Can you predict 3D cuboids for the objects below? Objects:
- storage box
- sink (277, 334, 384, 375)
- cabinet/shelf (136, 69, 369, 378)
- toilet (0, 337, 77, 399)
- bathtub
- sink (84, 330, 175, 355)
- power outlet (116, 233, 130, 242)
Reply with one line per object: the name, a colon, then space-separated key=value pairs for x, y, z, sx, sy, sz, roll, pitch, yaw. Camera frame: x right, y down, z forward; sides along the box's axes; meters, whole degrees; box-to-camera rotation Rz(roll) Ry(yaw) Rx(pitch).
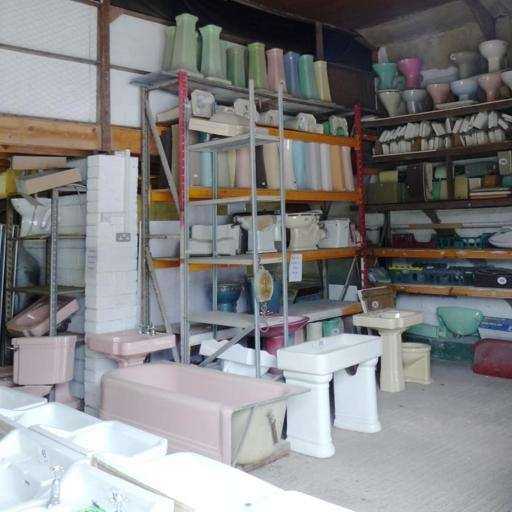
storage box: x=-1.603 y=-0.685 z=3.665 sx=0.501 sy=0.117 sz=0.473 roll=19 pitch=38 yaw=25
sink: x=0.552 y=0.717 z=3.418 sx=0.402 sy=0.223 sz=0.807 roll=0 pitch=1 yaw=43
cabinet/shelf: x=0.107 y=-0.394 z=5.000 sx=1.716 sy=2.376 sz=3.354 roll=-1 pitch=1 yaw=27
toilet: x=-1.630 y=0.820 z=3.616 sx=0.491 sy=0.459 sz=0.333 roll=-1 pitch=2 yaw=22
bathtub: x=-0.440 y=0.878 z=2.852 sx=1.102 sy=0.324 sz=0.635 roll=8 pitch=8 yaw=40
sink: x=-1.013 y=0.695 z=3.725 sx=0.590 sy=0.186 sz=0.493 roll=0 pitch=1 yaw=41
power outlet: x=-1.102 y=-0.160 z=3.893 sx=0.018 sy=0.079 sz=0.133 roll=-1 pitch=1 yaw=39
